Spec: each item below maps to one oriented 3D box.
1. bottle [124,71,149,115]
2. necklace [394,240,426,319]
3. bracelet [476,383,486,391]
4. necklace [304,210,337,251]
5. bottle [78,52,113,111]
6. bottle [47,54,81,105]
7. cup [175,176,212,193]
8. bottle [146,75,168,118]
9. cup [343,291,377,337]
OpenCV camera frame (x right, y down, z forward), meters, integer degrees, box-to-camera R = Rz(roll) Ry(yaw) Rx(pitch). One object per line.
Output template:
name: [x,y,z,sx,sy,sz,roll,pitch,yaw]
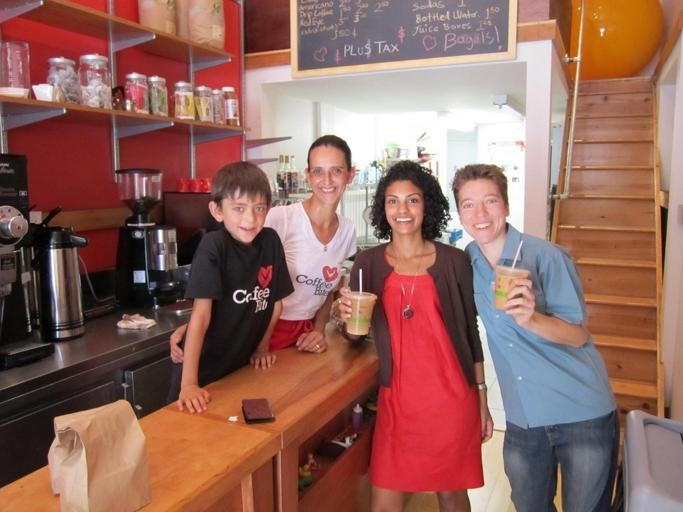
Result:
bottle: [-1.214,-0.964,3.034,0.124,0.226,0.188,-4,12,-14]
necklace: [0.294,0.122,2.152,0.130,0.235,0.121,-1,12,-3]
bracelet: [0.622,0.573,2.233,0.030,0.021,0.041,-2,-4,10]
necklace: [-0.085,-0.124,2.500,0.135,0.178,0.052,-8,3,-31]
bottle: [-1.350,-0.951,2.795,0.154,0.288,0.190,-6,13,-25]
bottle: [-1.452,-0.916,2.673,0.147,0.220,0.085,-6,13,-24]
cup: [-1.071,-0.513,3.715,0.217,0.081,0.119,2,3,2]
bottle: [-1.139,-0.996,3.182,0.088,0.244,0.243,-2,12,-5]
cup: [0.064,0.229,2.114,0.165,0.174,0.161,5,8,-1]
